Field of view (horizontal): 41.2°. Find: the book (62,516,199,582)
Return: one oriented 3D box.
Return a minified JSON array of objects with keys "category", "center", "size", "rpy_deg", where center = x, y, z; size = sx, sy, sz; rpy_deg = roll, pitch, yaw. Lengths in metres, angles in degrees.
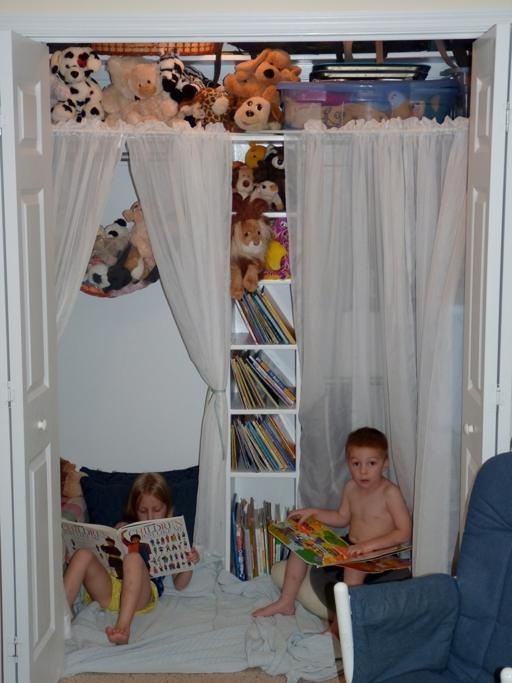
[{"category":"book","center":[-0.466,0.763,2.484],"size":[0.356,0.213,0.029],"rpy_deg":[-3,32,1]}]

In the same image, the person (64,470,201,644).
[{"category":"person","center":[-0.498,0.772,2.519],"size":[0.512,0.509,0.704],"rpy_deg":[1,-11,14]}]

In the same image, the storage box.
[{"category":"storage box","center":[0.407,-0.857,2.458],"size":[0.641,0.161,0.068],"rpy_deg":[1,12,4]}]

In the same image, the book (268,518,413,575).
[{"category":"book","center":[0.244,0.667,2.357],"size":[0.239,0.110,0.323],"rpy_deg":[8,-16,-38]}]
